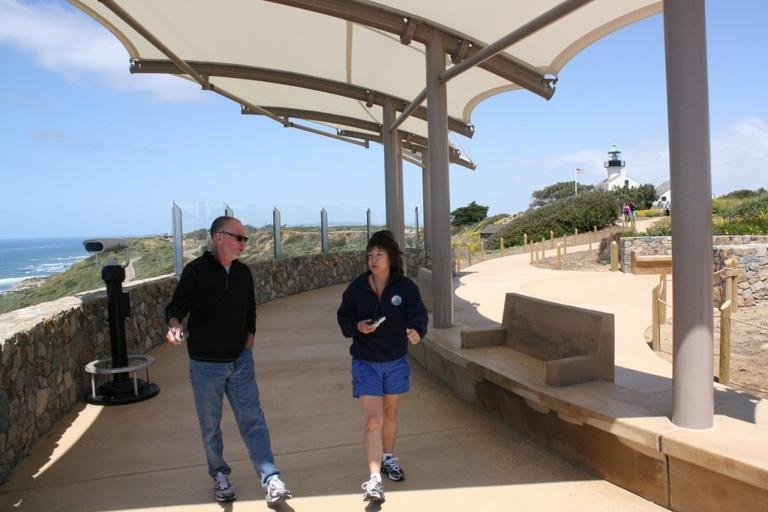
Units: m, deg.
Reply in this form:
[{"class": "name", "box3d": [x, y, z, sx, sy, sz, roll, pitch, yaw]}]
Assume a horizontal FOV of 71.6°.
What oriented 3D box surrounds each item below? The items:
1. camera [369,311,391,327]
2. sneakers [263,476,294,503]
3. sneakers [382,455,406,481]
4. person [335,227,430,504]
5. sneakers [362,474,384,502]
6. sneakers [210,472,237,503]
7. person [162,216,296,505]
[{"class": "camera", "box3d": [-0.044, 0.618, 5.000, 0.210, 0.084, 0.064, -39, 14, -11]}, {"class": "sneakers", "box3d": [-0.996, 2.160, 4.948, 0.261, 0.275, 0.285, 0, 6, -6]}, {"class": "sneakers", "box3d": [0.086, 2.102, 5.248, 0.129, 0.156, 0.331, 3, -6, -26]}, {"class": "person", "box3d": [0.016, 0.997, 5.135, 0.732, 2.423, 0.664, -3, 7, -30]}, {"class": "sneakers", "box3d": [-0.099, 2.137, 4.971, 0.213, 0.297, 0.326, 0, 6, -2]}, {"class": "sneakers", "box3d": [-1.499, 2.191, 4.993, 0.137, 0.157, 0.333, 1, -7, -24]}, {"class": "person", "box3d": [-1.490, 0.968, 4.914, 0.962, 2.636, 0.634, -1, 6, -12]}]
